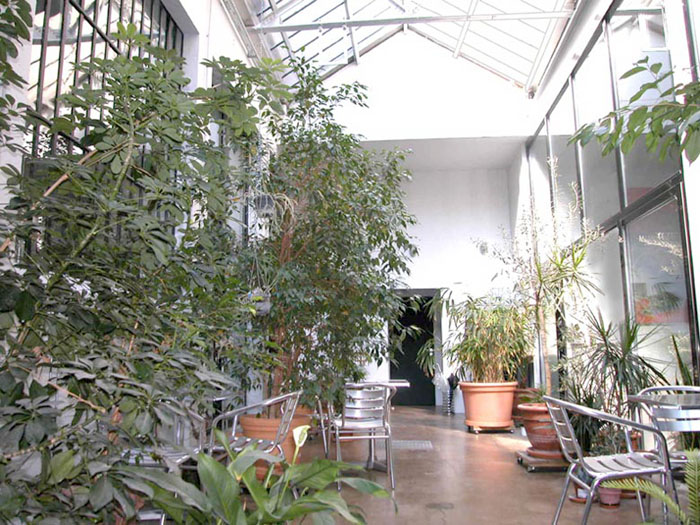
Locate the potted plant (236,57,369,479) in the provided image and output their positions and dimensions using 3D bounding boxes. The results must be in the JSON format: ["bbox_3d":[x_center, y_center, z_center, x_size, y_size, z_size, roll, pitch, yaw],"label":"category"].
[{"bbox_3d":[-0.241,-0.294,4.512,1.096,2.838,0.895,6,-11,-13],"label":"potted plant"}]

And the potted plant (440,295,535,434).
[{"bbox_3d":[2.191,1.587,8.192,1.491,2.101,1.209,6,0,-33],"label":"potted plant"}]
